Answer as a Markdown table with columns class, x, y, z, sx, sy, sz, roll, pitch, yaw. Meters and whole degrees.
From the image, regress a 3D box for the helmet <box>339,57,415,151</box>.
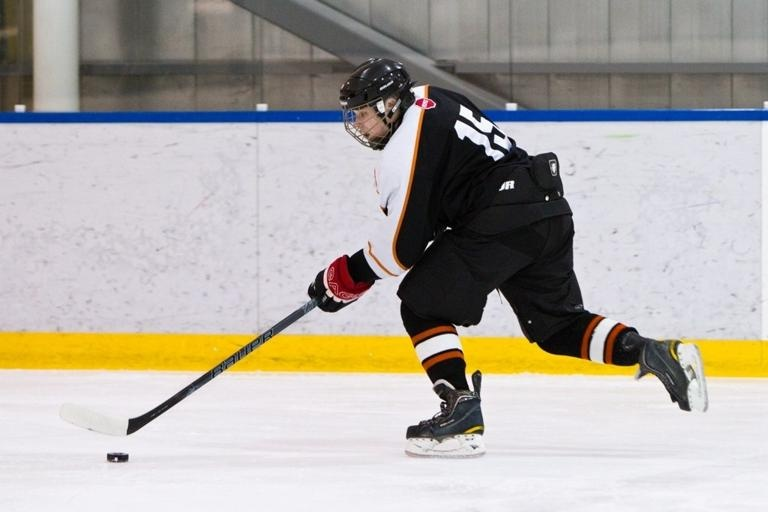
| class | x | y | z | sx | sy | sz | roll | pitch | yaw |
| --- | --- | --- | --- | --- | --- | --- | --- | --- | --- |
| helmet | -0.006 | -0.729 | 6.139 | 0.410 | 0.381 | 0.324 | -12 | 3 | 1 |

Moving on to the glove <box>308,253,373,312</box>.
| class | x | y | z | sx | sy | sz | roll | pitch | yaw |
| --- | --- | --- | --- | --- | --- | --- | --- | --- | --- |
| glove | -0.212 | 0.160 | 6.126 | 0.326 | 0.210 | 0.128 | -32 | -51 | 22 |

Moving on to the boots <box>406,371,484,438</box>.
| class | x | y | z | sx | sy | sz | roll | pitch | yaw |
| --- | --- | --- | --- | --- | --- | --- | --- | --- | --- |
| boots | 0.320 | 0.718 | 5.992 | 0.433 | 0.311 | 0.162 | -10 | -12 | 30 |
